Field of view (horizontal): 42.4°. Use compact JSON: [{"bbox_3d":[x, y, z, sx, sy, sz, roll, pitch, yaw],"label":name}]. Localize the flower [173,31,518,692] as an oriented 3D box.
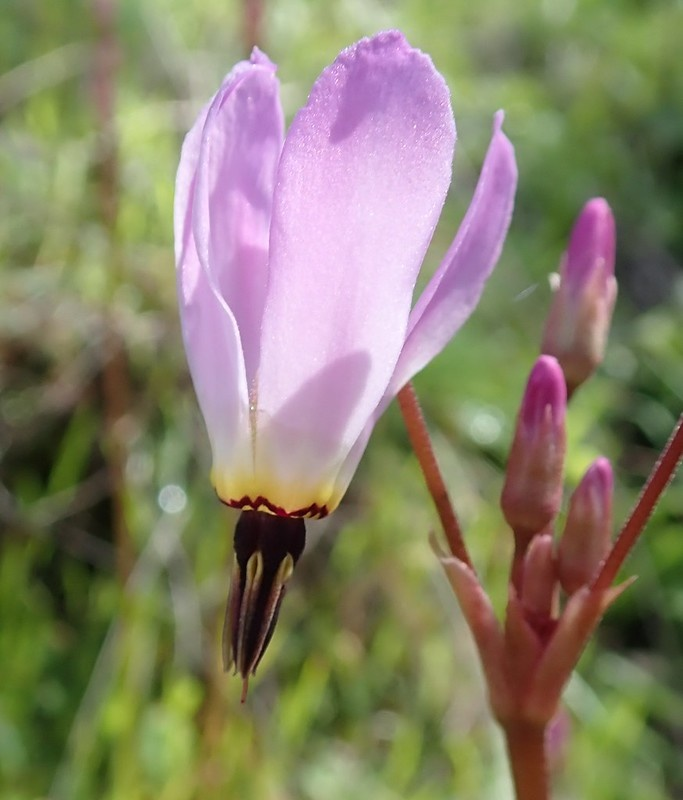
[{"bbox_3d":[-0.030,-0.057,0.571,0.188,0.332,0.259,32,46,31],"label":"flower"}]
